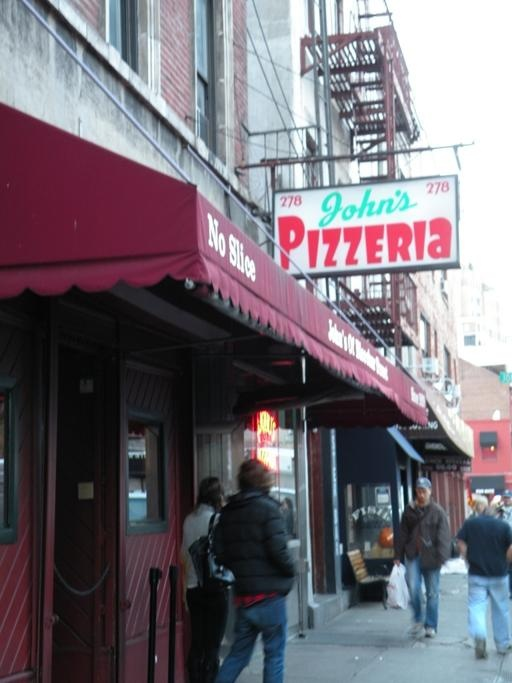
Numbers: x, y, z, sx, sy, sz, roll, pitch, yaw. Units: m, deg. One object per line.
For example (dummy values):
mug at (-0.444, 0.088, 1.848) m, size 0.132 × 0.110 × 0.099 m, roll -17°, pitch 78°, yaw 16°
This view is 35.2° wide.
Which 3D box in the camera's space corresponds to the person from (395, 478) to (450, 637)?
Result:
person at (1.996, 2.538, 9.557) m, size 0.556 × 1.804 × 0.904 m, roll -3°, pitch -8°, yaw 7°

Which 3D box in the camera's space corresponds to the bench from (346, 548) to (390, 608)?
bench at (1.917, 4.053, 13.760) m, size 0.625 × 1.650 × 0.695 m, roll -4°, pitch -8°, yaw 23°
